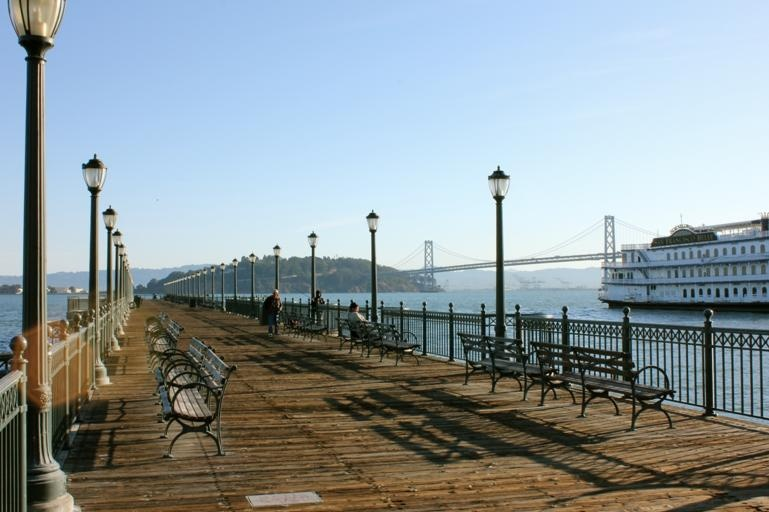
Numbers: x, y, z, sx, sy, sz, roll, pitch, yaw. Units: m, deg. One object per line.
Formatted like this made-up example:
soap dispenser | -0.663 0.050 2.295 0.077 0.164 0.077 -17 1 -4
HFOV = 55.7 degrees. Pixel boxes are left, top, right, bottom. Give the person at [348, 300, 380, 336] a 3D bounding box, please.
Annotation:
person | -0.694 1.940 20.694 0.695 1.247 0.641 -4 0 2
